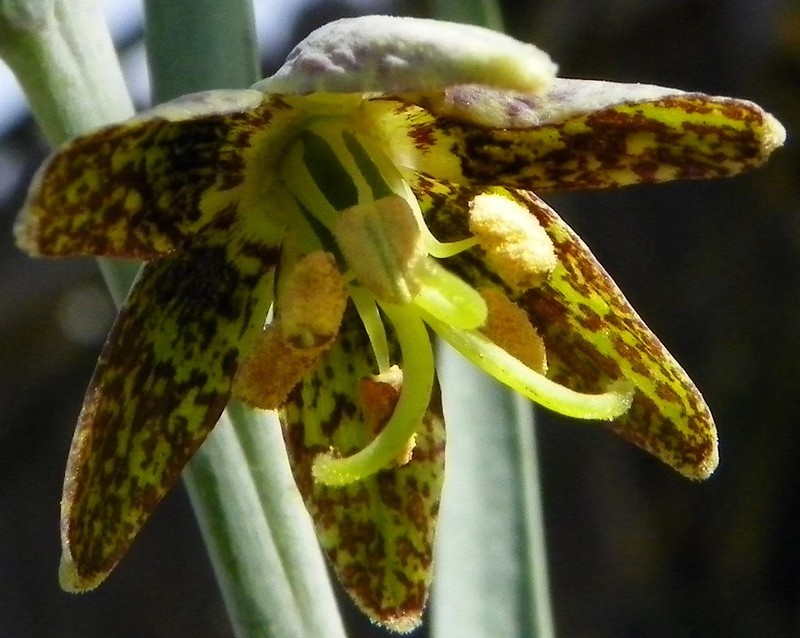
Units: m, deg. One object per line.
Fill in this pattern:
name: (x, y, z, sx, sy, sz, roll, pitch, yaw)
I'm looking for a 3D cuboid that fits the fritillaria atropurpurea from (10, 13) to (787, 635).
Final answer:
fritillaria atropurpurea: (-0.093, -0.121, 1.589, 0.953, 0.772, 0.399, -18, 37, -11)
